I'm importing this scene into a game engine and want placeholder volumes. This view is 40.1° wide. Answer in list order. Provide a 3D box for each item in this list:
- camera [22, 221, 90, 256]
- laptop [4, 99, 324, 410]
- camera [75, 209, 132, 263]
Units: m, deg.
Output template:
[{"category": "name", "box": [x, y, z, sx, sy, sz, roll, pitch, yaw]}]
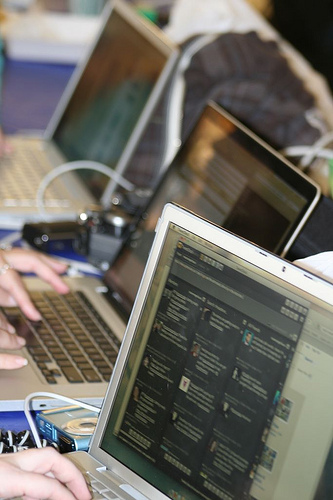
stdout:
[{"category": "camera", "box": [-0.285, -0.048, 1.242, 0.214, 0.058, 0.281, 4, 7, -23]}, {"category": "laptop", "box": [0.021, 0.043, 0.886, 0.628, 0.405, 0.530, -1, 34, -19]}, {"category": "camera", "box": [-0.140, -0.038, 1.058, 0.129, 0.120, 0.046, -6, 5, 30]}]
